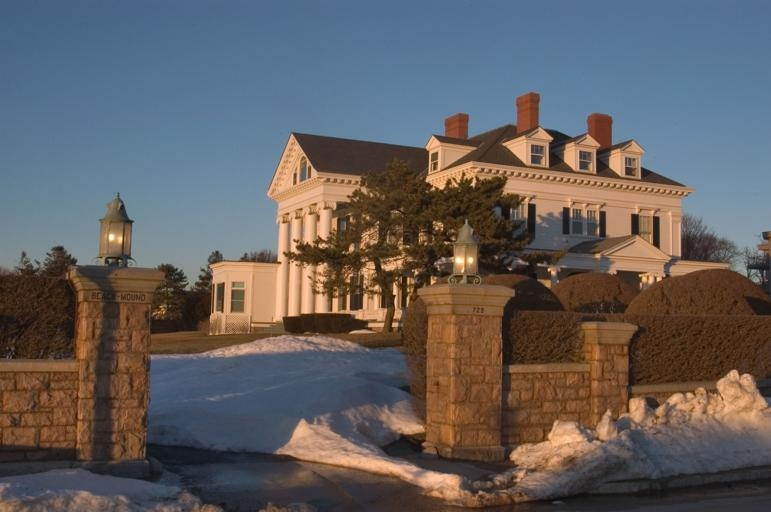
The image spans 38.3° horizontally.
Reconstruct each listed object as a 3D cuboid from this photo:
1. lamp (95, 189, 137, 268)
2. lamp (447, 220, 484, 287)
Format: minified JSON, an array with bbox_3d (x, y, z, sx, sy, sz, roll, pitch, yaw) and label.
[{"bbox_3d":[-5.913,-0.531,24.297,0.634,1.538,0.488,1,-6,-21],"label":"lamp"},{"bbox_3d":[1.889,-0.072,26.722,0.735,1.527,0.824,1,-5,-15],"label":"lamp"}]
